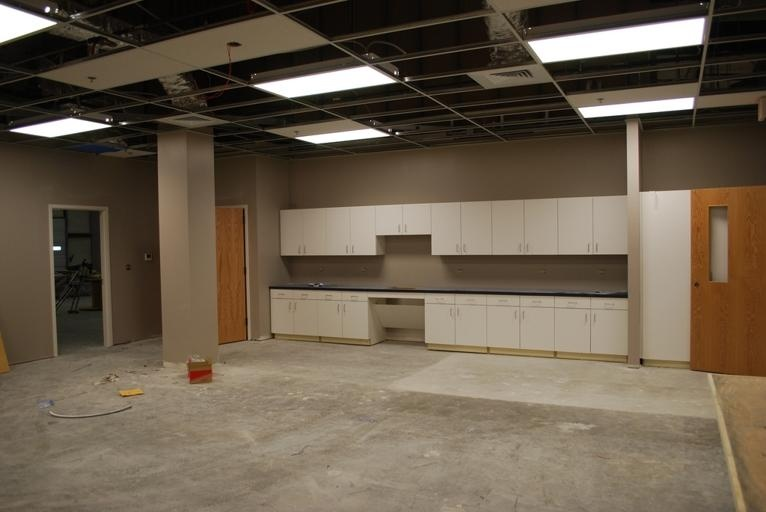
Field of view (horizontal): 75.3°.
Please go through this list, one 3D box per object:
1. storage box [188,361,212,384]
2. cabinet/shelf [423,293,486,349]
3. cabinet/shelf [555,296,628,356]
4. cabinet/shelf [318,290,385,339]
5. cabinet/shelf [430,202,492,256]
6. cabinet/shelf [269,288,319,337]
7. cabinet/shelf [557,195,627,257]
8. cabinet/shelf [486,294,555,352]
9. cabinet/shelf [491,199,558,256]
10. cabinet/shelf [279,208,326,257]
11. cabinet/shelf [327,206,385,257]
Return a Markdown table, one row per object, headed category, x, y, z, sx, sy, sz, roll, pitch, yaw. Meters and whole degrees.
| category | x | y | z | sx | sy | sz | roll | pitch | yaw |
| --- | --- | --- | --- | --- | --- | --- | --- | --- | --- |
| storage box | -2.759 | 1.734 | 7.538 | 0.352 | 0.301 | 0.330 | 1 | 0 | -3 |
| cabinet/shelf | 1.375 | 1.165 | 9.136 | 1.127 | 0.883 | 0.538 | -1 | -4 | 23 |
| cabinet/shelf | 3.563 | 1.144 | 8.313 | 1.127 | 0.867 | 0.418 | 0 | -3 | 22 |
| cabinet/shelf | -0.633 | 1.213 | 10.258 | 1.294 | 1.076 | 0.752 | -3 | -5 | 35 |
| cabinet/shelf | 1.407 | -0.550 | 9.503 | 1.307 | 1.016 | 0.451 | -1 | 8 | -13 |
| cabinet/shelf | -1.694 | 1.168 | 10.577 | 1.300 | 0.960 | 0.709 | -1 | 0 | 27 |
| cabinet/shelf | 3.587 | -0.532 | 8.726 | 1.314 | 1.018 | 0.449 | -1 | 1 | -9 |
| cabinet/shelf | 2.478 | 1.154 | 8.716 | 1.137 | 0.892 | 0.450 | -1 | -4 | 23 |
| cabinet/shelf | 2.512 | -0.516 | 9.119 | 1.320 | 1.018 | 0.476 | -2 | 2 | -12 |
| cabinet/shelf | -1.865 | -0.518 | 10.650 | 0.448 | 0.994 | 1.245 | 7 | 8 | 40 |
| cabinet/shelf | -0.516 | -0.531 | 10.107 | 1.150 | 0.922 | 0.446 | 0 | -1 | 22 |
